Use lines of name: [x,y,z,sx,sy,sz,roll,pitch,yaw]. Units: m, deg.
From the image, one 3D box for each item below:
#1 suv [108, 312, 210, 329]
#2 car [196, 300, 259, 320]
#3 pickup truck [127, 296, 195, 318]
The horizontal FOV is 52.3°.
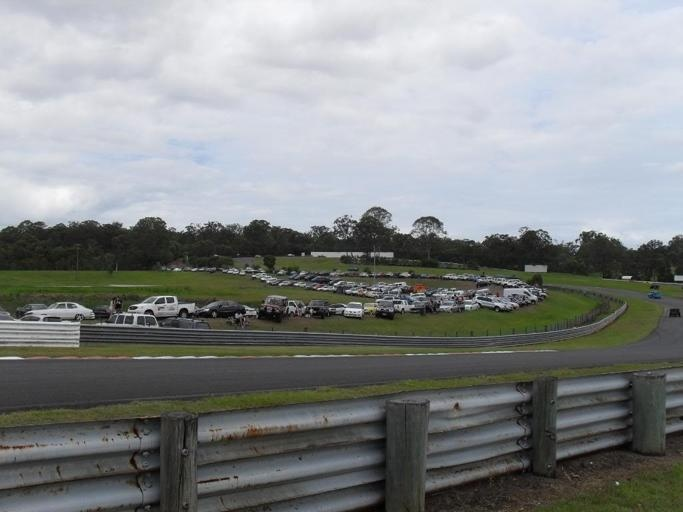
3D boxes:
suv: [-8.200,2.858,30.320,3.233,0.733,1.469,2,-4,-14]
car: [-7.166,3.362,43.383,3.284,0.829,1.439,5,-6,-24]
pickup truck: [-10.696,3.064,41.768,3.328,0.996,1.581,6,-6,-41]
